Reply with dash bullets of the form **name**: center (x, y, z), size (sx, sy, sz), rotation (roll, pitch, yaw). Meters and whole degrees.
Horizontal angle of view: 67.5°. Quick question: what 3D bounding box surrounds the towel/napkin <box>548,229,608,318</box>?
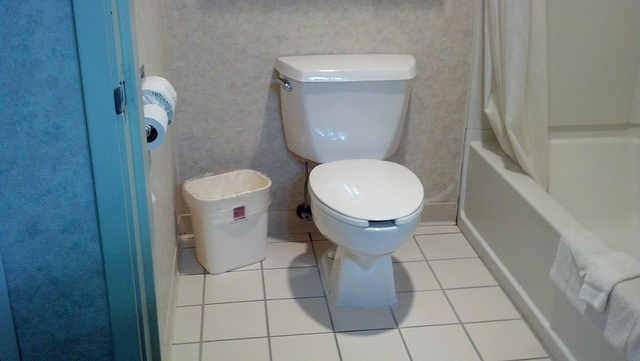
- **towel/napkin**: center (1.025, 0.375, 1.942), size (0.093, 0.256, 0.262), rotation (2, 23, -13)

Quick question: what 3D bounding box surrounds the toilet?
- **toilet**: center (0.158, -0.017, 2.385), size (0.701, 0.979, 0.860), rotation (-3, 35, -5)

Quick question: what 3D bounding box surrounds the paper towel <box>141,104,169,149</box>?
- **paper towel**: center (-0.569, -0.195, 1.652), size (0.108, 0.105, 0.117), rotation (31, 23, -30)

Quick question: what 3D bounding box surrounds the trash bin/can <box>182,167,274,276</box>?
- **trash bin/can**: center (-0.459, 0.203, 2.517), size (0.435, 0.425, 0.336), rotation (-10, 36, -16)
